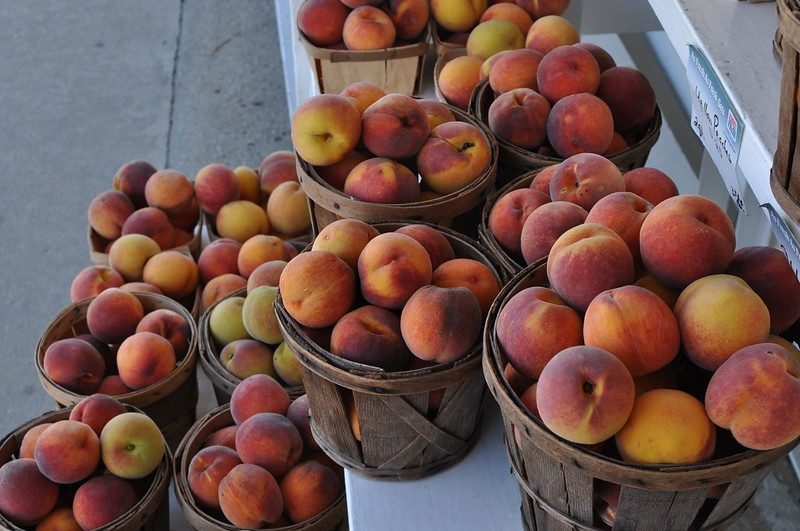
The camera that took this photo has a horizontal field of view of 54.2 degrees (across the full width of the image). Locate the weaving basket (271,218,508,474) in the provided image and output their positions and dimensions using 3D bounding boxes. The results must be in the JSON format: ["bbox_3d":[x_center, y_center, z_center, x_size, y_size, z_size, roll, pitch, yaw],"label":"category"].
[{"bbox_3d":[-0.020,0.177,1.884,0.430,0.456,0.558,-2,39,-1],"label":"weaving basket"}]
